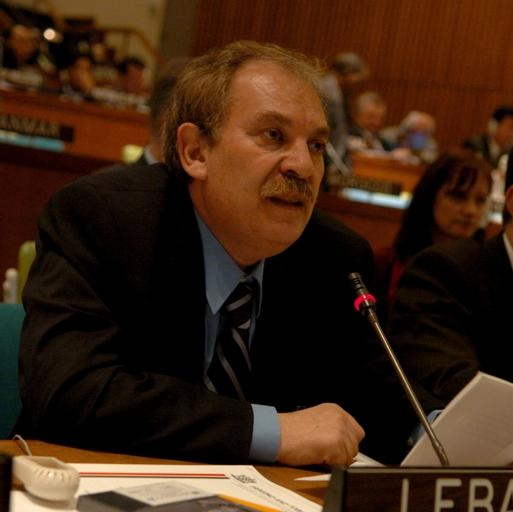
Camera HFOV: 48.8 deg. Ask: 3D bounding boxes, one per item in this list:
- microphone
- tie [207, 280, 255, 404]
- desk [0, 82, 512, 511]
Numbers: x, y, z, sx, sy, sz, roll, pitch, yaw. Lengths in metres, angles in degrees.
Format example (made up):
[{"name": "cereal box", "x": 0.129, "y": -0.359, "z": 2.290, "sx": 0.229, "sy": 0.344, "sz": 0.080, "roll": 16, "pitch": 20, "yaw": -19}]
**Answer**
[{"name": "microphone", "x": 0.331, "y": 0.273, "z": 1.322, "sx": 0.055, "sy": 0.042, "sz": 0.504, "roll": 28, "pitch": 33, "yaw": -56}, {"name": "tie", "x": -0.057, "y": 0.225, "z": 1.211, "sx": 0.078, "sy": 0.037, "sz": 0.228, "roll": 36, "pitch": 33, "yaw": -16}, {"name": "desk", "x": -0.020, "y": 0.024, "z": 1.181, "sx": 0.847, "sy": 0.880, "sz": 0.653, "roll": -1, "pitch": 12, "yaw": -33}]
